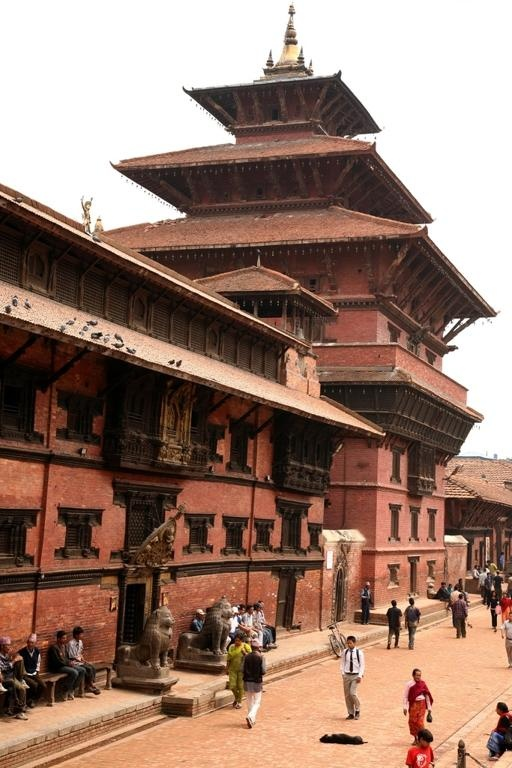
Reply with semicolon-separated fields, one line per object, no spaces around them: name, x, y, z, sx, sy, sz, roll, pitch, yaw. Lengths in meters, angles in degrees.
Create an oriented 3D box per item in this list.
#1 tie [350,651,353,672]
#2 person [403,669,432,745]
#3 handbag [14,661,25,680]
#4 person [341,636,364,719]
tie;1.639;4.749;13.303;0.079;0.306;0.135;2;-14;8
person;2.414;4.771;11.520;0.424;0.977;0.290;-4;-17;16
handbag;-3.530;4.264;11.586;0.166;0.272;0.076;-10;-9;35
person;1.683;5.075;13.431;0.345;1.349;0.482;14;-19;-43
